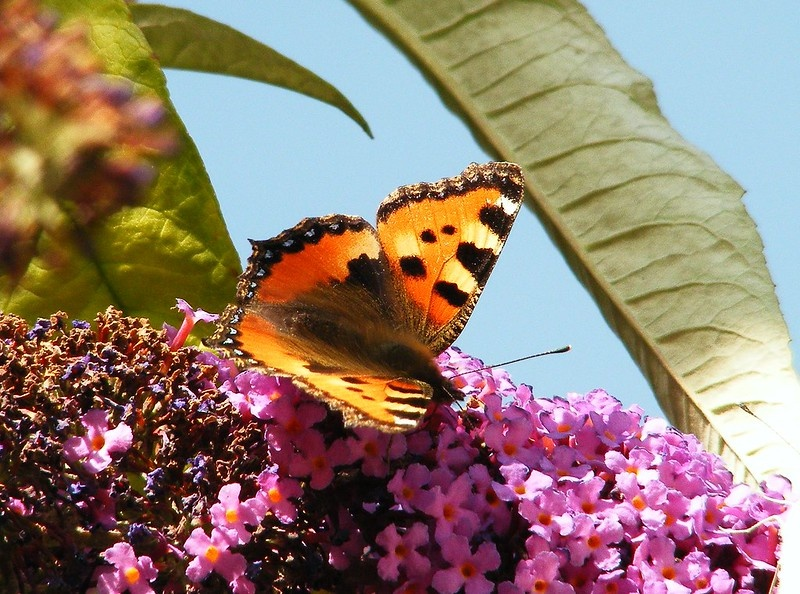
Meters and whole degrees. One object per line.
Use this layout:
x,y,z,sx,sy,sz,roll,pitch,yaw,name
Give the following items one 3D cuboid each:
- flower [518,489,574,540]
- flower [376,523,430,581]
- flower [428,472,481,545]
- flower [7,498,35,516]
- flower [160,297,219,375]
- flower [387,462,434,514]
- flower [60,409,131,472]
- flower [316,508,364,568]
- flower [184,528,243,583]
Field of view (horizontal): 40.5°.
0.309,0.475,2.306,0.119,0.136,0.047,8,-55,5,flower
0.007,0.540,2.276,0.109,0.106,0.084,-7,-24,0,flower
0.112,0.453,2.278,0.106,0.123,0.030,-6,-1,-34,flower
-0.813,0.451,2.329,0.041,0.017,0.036,22,-20,35,flower
-0.497,0.077,2.581,0.132,0.149,0.124,35,6,1,flower
0.021,0.405,2.286,0.082,0.091,0.025,1,-35,-12,flower
-0.636,0.314,2.295,0.130,0.142,0.041,31,-56,-12,flower
-0.117,0.512,2.298,0.085,0.119,0.080,-4,-24,-5,flower
-0.383,0.525,2.231,0.135,0.033,0.168,22,7,30,flower
